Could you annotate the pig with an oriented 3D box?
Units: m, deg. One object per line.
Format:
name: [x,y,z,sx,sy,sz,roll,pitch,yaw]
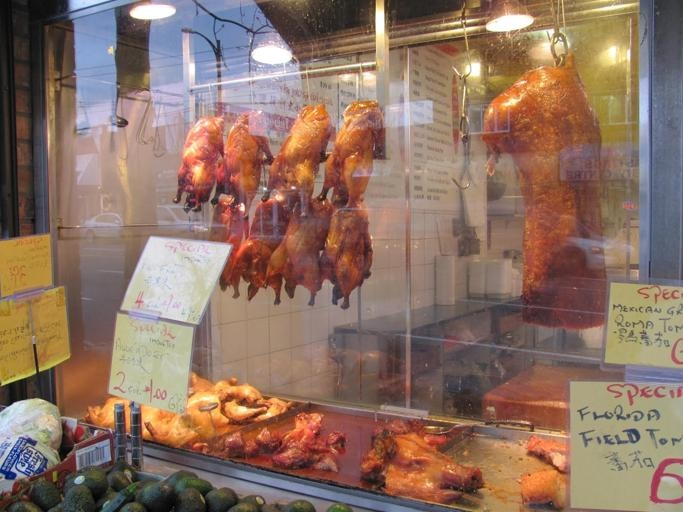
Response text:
pig: [0.247,0.706,2.022,0.294,0.147,0.354,-3,8,-38]

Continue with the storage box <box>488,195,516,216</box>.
storage box: [0.645,-0.198,2.412,0.026,0.080,0.131,-2,8,-35]

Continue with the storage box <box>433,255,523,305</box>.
storage box: [0.561,0.106,2.510,0.294,0.189,0.165,-1,0,35]
